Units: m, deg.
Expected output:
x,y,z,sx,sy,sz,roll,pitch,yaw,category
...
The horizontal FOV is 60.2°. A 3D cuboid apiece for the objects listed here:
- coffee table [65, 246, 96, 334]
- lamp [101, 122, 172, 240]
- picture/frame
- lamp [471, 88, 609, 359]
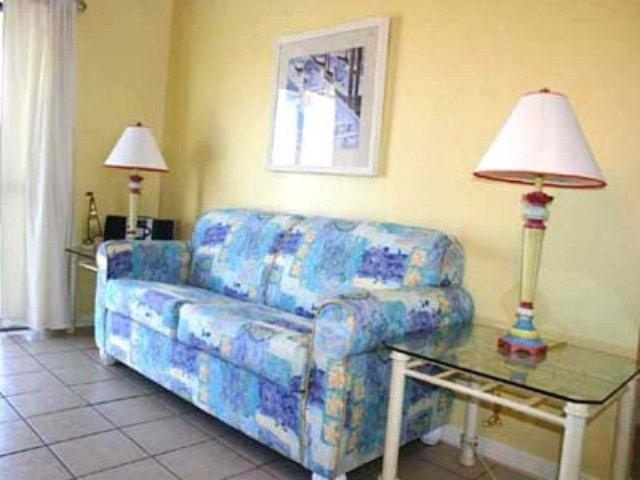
x,y,z,sx,sy,sz,roll,pitch,yaw,category
-1.613,0.336,3.709,0.190,0.596,0.554,1,7,-22,coffee table
-1.263,-0.375,3.786,0.529,0.812,0.483,3,-2,-1,lamp
0.077,-0.828,3.183,1.019,0.972,0.090,7,0,38,picture/frame
0.851,-0.074,2.189,0.489,1.023,0.399,1,8,-22,lamp
